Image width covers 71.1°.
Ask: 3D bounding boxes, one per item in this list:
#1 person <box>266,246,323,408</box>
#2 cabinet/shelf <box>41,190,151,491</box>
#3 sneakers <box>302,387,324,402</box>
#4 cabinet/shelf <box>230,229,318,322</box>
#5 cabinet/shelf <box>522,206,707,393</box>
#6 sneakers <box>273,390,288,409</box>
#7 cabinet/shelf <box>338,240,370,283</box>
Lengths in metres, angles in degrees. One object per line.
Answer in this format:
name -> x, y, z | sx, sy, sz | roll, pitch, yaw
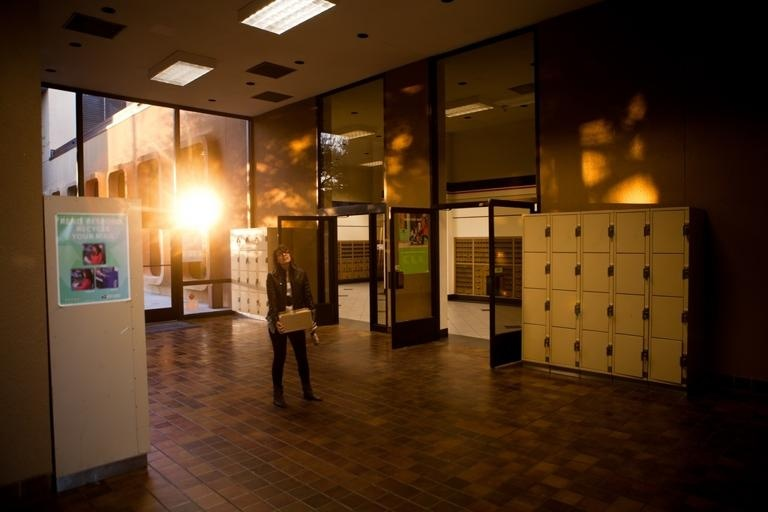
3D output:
person -> -1.348, 1.005, 7.890 | 0.679, 2.271, 0.807 | -4, 13, -12
cabinet/shelf -> -3.264, 0.941, 6.378 | 1.109, 3.301, 0.351 | -6, -4, 1
sneakers -> -1.060, 2.051, 7.975 | 0.378, 0.253, 0.136 | -1, 0, 12
cabinet/shelf -> -2.250, 0.308, 11.249 | 0.887, 2.714, 2.336 | 0, 0, -38
cabinet/shelf -> 3.442, 0.587, 8.830 | 2.694, 2.651, 0.954 | 3, 2, 1
sneakers -> -1.501, 2.067, 7.743 | 0.128, 0.217, 0.320 | 3, -9, -37
cabinet/shelf -> -1.325, 0.338, 24.315 | 1.986, 1.921, 0.669 | -1, -21, 2
